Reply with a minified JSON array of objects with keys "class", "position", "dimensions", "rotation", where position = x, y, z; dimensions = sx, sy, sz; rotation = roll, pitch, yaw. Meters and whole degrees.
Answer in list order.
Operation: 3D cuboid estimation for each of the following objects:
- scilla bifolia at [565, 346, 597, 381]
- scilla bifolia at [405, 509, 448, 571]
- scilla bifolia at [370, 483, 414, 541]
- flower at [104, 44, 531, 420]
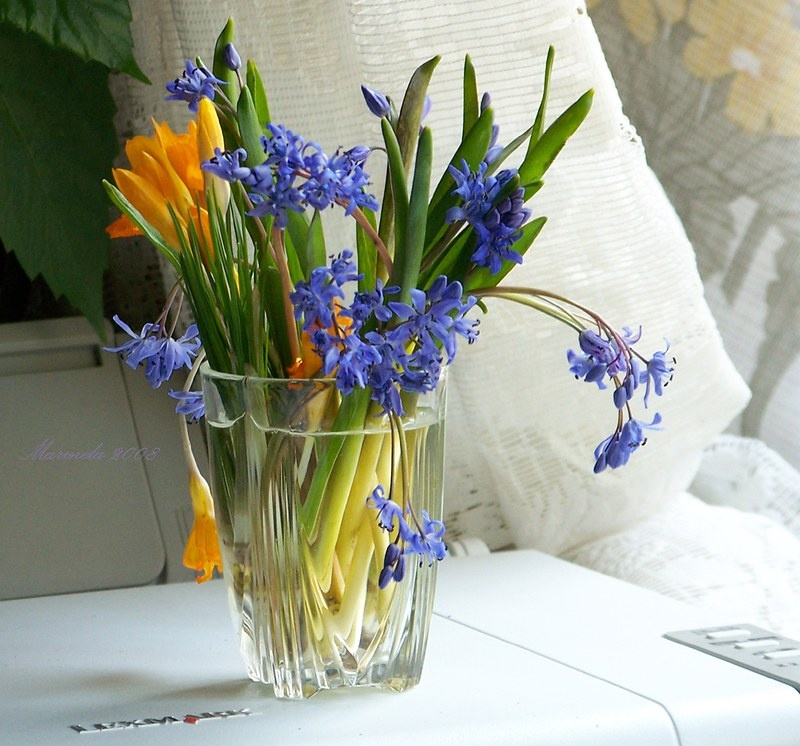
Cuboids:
[{"class":"scilla bifolia","position":[0.086,-0.009,0.388],"dimensions":[0.014,0.023,0.006],"rotation":[-8,2,30]},{"class":"scilla bifolia","position":[0.009,0.074,0.380],"dimensions":[0.019,0.026,0.025],"rotation":[-4,36,-20]},{"class":"scilla bifolia","position":[-0.005,0.060,0.380],"dimensions":[0.009,0.024,0.026],"rotation":[-28,76,6]},{"class":"flower","position":[-0.035,-0.028,0.426],"dimensions":[0.187,0.224,0.165],"rotation":[2,16,-41]}]
